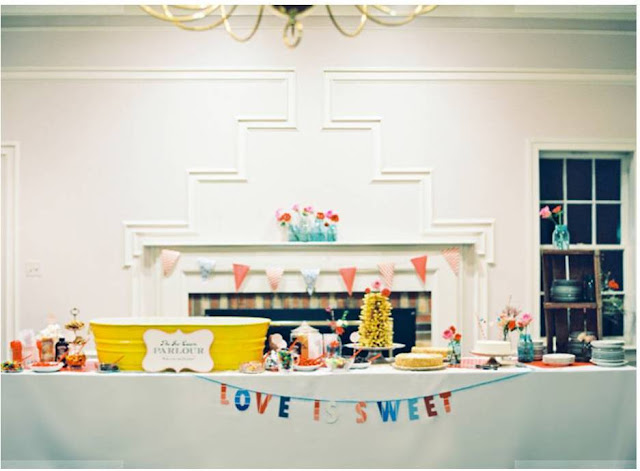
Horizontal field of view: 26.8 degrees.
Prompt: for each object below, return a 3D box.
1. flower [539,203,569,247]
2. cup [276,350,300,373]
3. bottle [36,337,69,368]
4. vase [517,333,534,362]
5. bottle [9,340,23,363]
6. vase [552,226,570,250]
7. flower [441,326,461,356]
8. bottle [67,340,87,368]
[{"bbox_3d":[1.961,-0.082,11.340,0.283,0.419,0.216,-2,-19,14],"label":"flower"},{"bbox_3d":[-0.250,0.931,10.114,0.175,0.169,0.112,3,-6,-26],"label":"cup"},{"bbox_3d":[-2.034,0.885,10.292,0.256,0.277,0.149,0,-1,-8],"label":"bottle"},{"bbox_3d":[1.606,0.871,10.453,0.116,0.217,0.125,-1,-8,17],"label":"vase"},{"bbox_3d":[-2.314,0.874,10.271,0.085,0.156,0.087,-1,-2,0],"label":"bottle"},{"bbox_3d":[1.948,0.010,10.898,0.122,0.203,0.239,-1,-2,9],"label":"vase"},{"bbox_3d":[1.030,0.833,10.362,0.118,0.243,0.125,-5,9,0],"label":"flower"},{"bbox_3d":[-1.874,0.904,10.362,0.183,0.273,0.187,1,-6,0],"label":"bottle"}]
